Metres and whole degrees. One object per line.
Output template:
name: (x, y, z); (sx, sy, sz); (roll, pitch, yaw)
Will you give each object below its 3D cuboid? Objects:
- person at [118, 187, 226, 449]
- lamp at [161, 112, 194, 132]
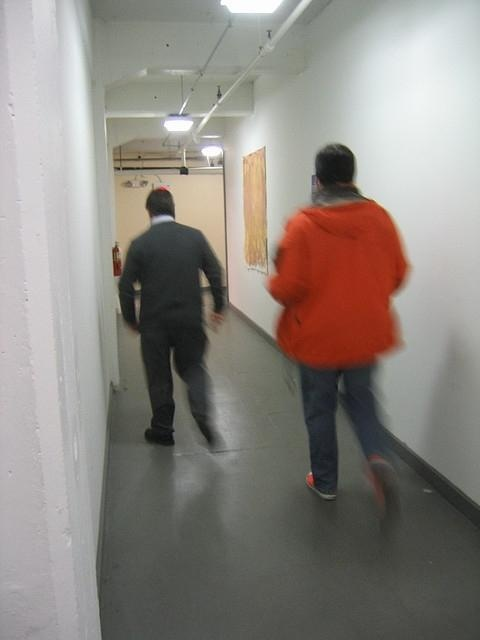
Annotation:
person: (-0.199, 0.016, 1.453); (0.305, 0.791, 0.215); (-3, 6, -4)
lamp: (-0.369, -1.152, 2.749); (0.171, 0.045, 0.184); (-1, 8, 18)
